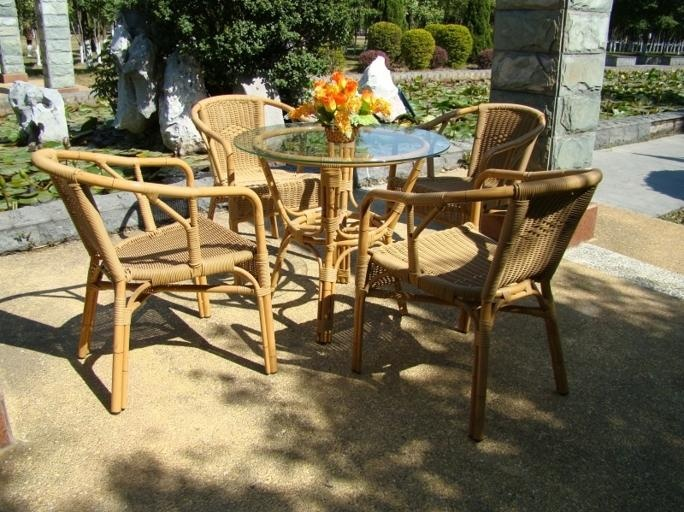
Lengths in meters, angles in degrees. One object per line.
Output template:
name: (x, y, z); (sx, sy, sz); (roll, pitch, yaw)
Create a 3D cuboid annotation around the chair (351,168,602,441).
chair: (0.608, 0.122, 2.418); (0.844, 1.086, 0.852); (-19, 30, -37)

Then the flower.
flower: (0.016, -0.811, 2.880); (0.430, 0.359, 0.425); (-14, 25, -31)

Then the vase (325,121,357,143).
vase: (-0.002, -0.651, 2.779); (0.134, 0.044, 0.120); (-13, 25, -31)

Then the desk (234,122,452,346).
desk: (0.015, -0.109, 3.231); (1.422, 0.769, 1.115); (10, 6, 15)
